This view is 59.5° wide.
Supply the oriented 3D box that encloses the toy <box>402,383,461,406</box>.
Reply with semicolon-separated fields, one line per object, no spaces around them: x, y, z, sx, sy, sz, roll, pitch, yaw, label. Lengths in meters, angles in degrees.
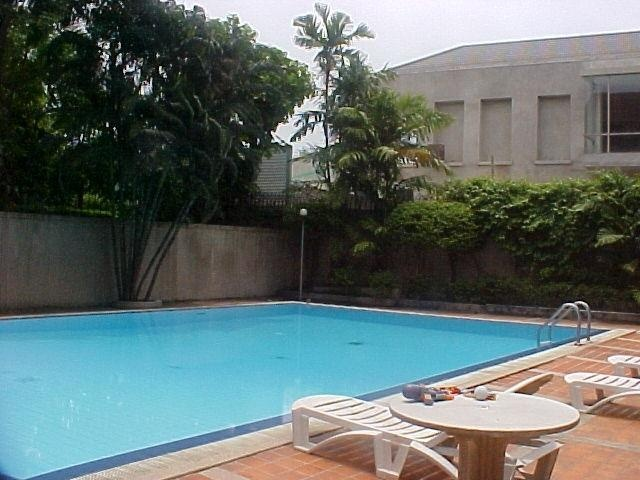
0.867;1.228;4.481;0.275;0.094;0.217;0;-1;-6;toy
